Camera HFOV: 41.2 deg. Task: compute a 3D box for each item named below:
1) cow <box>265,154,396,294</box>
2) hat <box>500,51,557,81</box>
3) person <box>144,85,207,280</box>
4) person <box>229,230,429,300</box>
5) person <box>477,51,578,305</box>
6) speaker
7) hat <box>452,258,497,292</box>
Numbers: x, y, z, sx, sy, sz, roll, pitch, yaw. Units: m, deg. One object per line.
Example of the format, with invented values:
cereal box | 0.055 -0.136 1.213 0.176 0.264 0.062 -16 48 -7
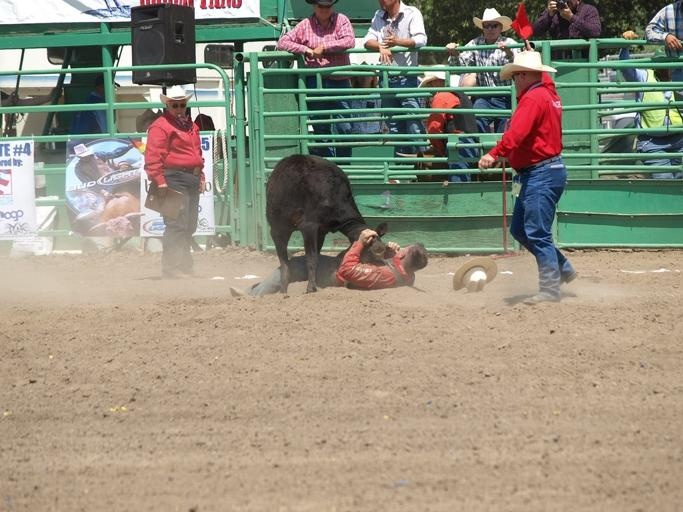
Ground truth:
cow | -0.270 -0.337 9.545 1.071 1.428 0.503 -1 8 6
hat | 1.791 -1.875 8.827 0.482 0.257 0.322 0 8 12
person | -2.064 -0.935 11.364 0.431 2.306 0.848 2 9 26
person | -0.007 0.130 9.571 1.710 0.683 0.835 -3 25 9
person | 1.852 -0.775 8.939 0.699 2.438 0.514 -1 8 3
speaker | -2.429 -2.883 12.438 0.862 1.065 0.631 -3 8 -12
hat | 1.367 0.163 9.379 0.370 0.367 0.098 35 19 -34
